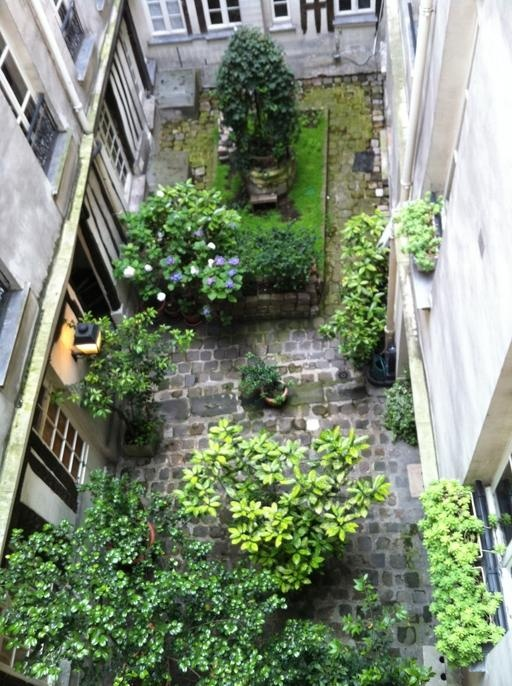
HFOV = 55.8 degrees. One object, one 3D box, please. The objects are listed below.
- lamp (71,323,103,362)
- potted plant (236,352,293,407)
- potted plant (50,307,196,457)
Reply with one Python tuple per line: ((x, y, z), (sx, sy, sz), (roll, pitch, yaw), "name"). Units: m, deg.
((-2.489, 0.012, 7.213), (0.448, 0.693, 0.494), (-2, 63, -3), "lamp")
((0.172, 0.876, 9.329), (0.865, 1.050, 1.146), (11, 85, 20), "potted plant")
((-2.145, 0.594, 8.403), (2.670, 3.027, 2.426), (5, 76, -2), "potted plant")
